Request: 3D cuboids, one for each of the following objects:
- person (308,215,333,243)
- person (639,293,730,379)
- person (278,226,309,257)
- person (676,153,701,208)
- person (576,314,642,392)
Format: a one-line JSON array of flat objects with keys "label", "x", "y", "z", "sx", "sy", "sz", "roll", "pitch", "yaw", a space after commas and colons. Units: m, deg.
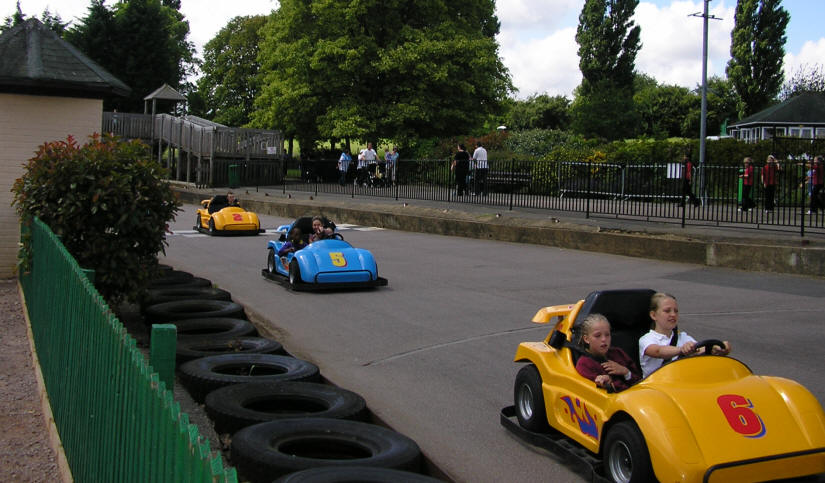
[{"label": "person", "x": -2.068, "y": -0.266, "z": 16.565, "sx": 0.593, "sy": 0.583, "sz": 0.902, "roll": 0, "pitch": 4, "yaw": -8}, {"label": "person", "x": 3.146, "y": 1.179, "z": 8.329, "sx": 0.836, "sy": 1.134, "sz": 1.109, "roll": 4, "pitch": -8, "yaw": -36}, {"label": "person", "x": -2.626, "y": -0.008, "z": 16.752, "sx": 0.612, "sy": 0.679, "sz": 0.966, "roll": 3, "pitch": 5, "yaw": 26}, {"label": "person", "x": 8.450, "y": -1.746, "z": 21.753, "sx": 0.534, "sy": 1.372, "sz": 1.675, "roll": 2, "pitch": 5, "yaw": 22}, {"label": "person", "x": 2.260, "y": 1.283, "z": 8.458, "sx": 0.664, "sy": 0.816, "sz": 0.780, "roll": 4, "pitch": 5, "yaw": 33}]
